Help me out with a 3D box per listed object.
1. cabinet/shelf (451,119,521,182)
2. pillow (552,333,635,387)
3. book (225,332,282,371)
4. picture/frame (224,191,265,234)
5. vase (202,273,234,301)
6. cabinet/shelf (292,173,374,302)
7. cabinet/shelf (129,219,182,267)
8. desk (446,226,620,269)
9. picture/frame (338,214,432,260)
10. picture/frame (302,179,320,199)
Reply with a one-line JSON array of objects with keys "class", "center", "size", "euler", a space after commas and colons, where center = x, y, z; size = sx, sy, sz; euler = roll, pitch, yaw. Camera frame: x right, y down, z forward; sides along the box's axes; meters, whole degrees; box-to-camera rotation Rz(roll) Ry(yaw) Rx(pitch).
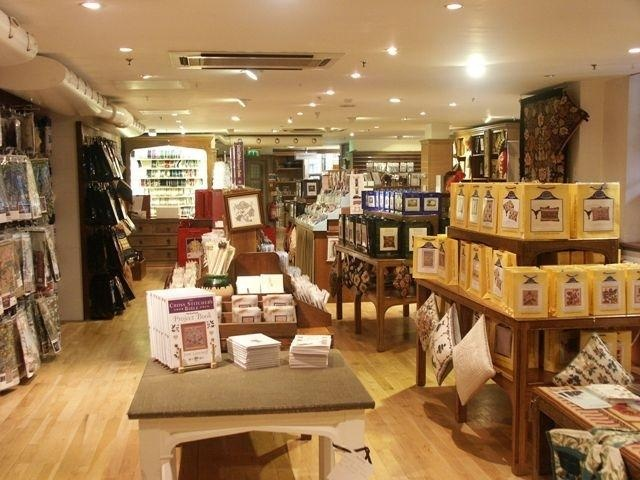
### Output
[{"class": "cabinet/shelf", "center": [4.316, -2.319, 12.324], "size": [1.214, 1.445, 3.786], "euler": [-1, 9, 7]}, {"class": "pillow", "center": [1.672, 0.752, 2.934], "size": [0.405, 0.332, 0.231], "euler": [5, 12, 39]}, {"class": "book", "center": [-0.382, 0.633, 2.692], "size": [0.184, 0.087, 0.233], "euler": [1, 3, -18]}, {"class": "picture/frame", "center": [-0.710, -0.261, 4.424], "size": [0.385, 0.406, 0.041], "euler": [-3, -14, -24]}, {"class": "vase", "center": [-0.809, 0.351, 3.752], "size": [0.207, 0.187, 0.213], "euler": [1, -1, 32]}, {"class": "cabinet/shelf", "center": [0.225, -0.017, 7.238], "size": [0.844, 2.195, 2.209], "euler": [1, 5, -7]}, {"class": "cabinet/shelf", "center": [-4.147, 0.066, 12.113], "size": [1.115, 1.128, 0.397], "euler": [0, 5, -10]}, {"class": "desk", "center": [1.456, 0.057, 3.470], "size": [1.184, 0.216, 0.545], "euler": [5, 11, 36]}, {"class": "picture/frame", "center": [0.838, -0.109, 6.158], "size": [0.779, 0.503, 1.150], "euler": [-5, 10, -19]}, {"class": "picture/frame", "center": [-0.211, -1.254, 11.666], "size": [0.457, 0.489, 0.470], "euler": [-1, 6, 1]}]
